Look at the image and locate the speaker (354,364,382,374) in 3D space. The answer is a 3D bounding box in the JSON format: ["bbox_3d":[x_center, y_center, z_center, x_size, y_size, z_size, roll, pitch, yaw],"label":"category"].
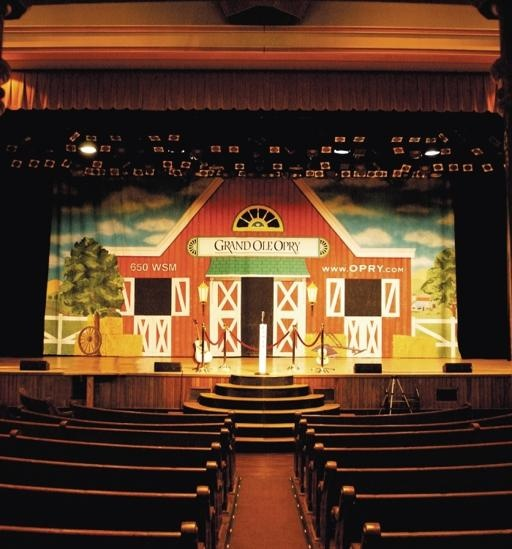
[{"bbox_3d":[1.719,1.444,12.708,0.397,0.150,0.081,1,-5,-4],"label":"speaker"}]

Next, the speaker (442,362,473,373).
[{"bbox_3d":[3.155,1.462,12.987,0.433,0.145,0.294,-1,-6,14],"label":"speaker"}]

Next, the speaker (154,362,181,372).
[{"bbox_3d":[-1.363,1.449,12.947,0.416,0.158,0.192,1,-6,-8],"label":"speaker"}]

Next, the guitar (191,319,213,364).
[{"bbox_3d":[-0.927,1.090,14.008,0.348,1.037,0.147,2,-29,-24],"label":"guitar"}]

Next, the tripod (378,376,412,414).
[{"bbox_3d":[2.172,1.862,12.811,0.474,0.775,0.521,4,-10,-17],"label":"tripod"}]
